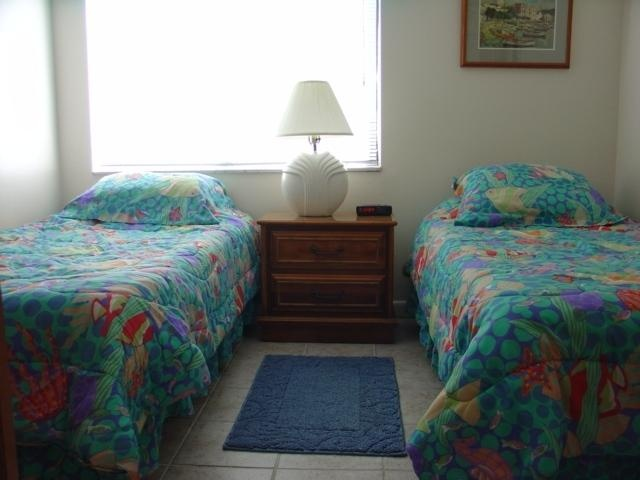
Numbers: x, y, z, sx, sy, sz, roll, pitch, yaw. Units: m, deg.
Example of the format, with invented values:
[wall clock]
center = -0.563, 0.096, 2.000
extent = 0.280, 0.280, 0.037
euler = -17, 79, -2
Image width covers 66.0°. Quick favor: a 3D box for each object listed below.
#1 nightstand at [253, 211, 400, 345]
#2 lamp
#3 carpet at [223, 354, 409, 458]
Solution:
[nightstand]
center = 0.049, 0.231, 3.062
extent = 0.799, 0.698, 0.480
euler = 0, 3, 0
[lamp]
center = -0.028, -0.543, 2.971
extent = 0.441, 0.800, 0.224
euler = 0, 13, 2
[carpet]
center = 0.012, 0.722, 2.253
extent = 0.728, 0.013, 0.989
euler = 3, 9, 8
